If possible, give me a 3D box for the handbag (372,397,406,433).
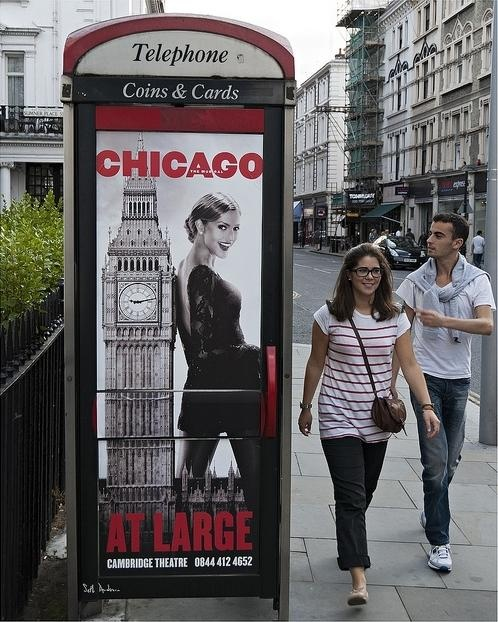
[{"bbox_3d":[0.638,0.476,4.115,0.133,0.147,0.071,6,-12,-43],"label":"handbag"}]

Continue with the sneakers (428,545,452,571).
[{"bbox_3d":[0.979,1.258,4.567,0.064,0.080,0.164,1,8,5],"label":"sneakers"}]

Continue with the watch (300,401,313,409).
[{"bbox_3d":[0.276,0.455,4.345,0.044,0.030,0.042,0,0,4],"label":"watch"}]

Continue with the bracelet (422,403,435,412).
[{"bbox_3d":[0.882,0.471,4.394,0.044,0.027,0.040,-1,0,16],"label":"bracelet"}]

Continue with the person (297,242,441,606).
[{"bbox_3d":[0.587,0.506,4.254,0.573,1.645,0.546,-1,5,-30],"label":"person"}]
